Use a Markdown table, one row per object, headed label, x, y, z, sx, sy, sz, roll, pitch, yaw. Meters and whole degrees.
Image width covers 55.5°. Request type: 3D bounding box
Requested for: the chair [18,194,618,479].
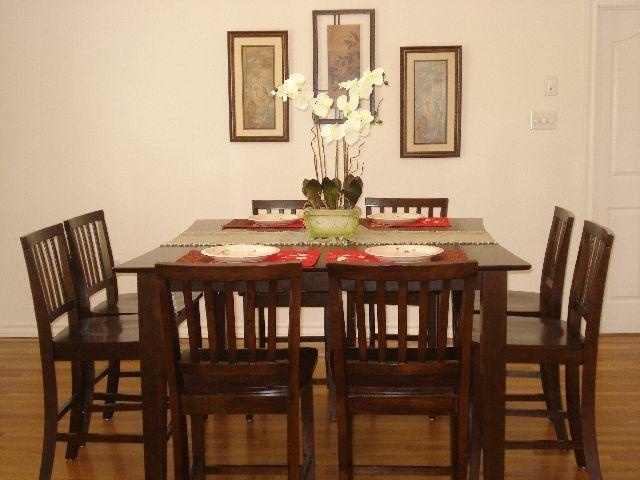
| label | x | y | z | sx | sy | sz | roll | pitch | yaw |
| --- | --- | --- | --- | --- | --- | --- | --- | --- | --- |
| chair | 0.000 | 0.438 | 2.968 | 2.465 | 1.133 | 1.453 | 1 | 11 | 5 |
